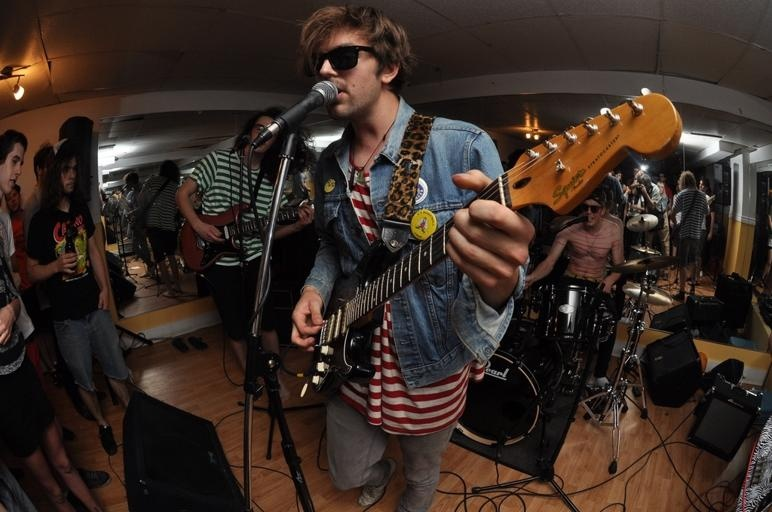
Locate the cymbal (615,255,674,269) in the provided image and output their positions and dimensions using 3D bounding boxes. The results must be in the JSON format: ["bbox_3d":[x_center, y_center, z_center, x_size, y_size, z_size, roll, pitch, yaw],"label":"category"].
[{"bbox_3d":[1.942,0.057,3.688,0.184,0.045,0.186,8,-25,-25],"label":"cymbal"}]

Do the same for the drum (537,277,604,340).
[{"bbox_3d":[1.396,0.426,3.791,0.387,0.401,0.406,10,-21,3],"label":"drum"}]

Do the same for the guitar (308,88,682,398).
[{"bbox_3d":[0.406,0.017,2.577,0.289,2.202,0.824,24,34,-24],"label":"guitar"}]

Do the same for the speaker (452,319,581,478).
[{"bbox_3d":[1.092,1.089,3.998,0.913,1.104,1.018,27,16,26],"label":"speaker"}]

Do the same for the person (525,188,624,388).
[{"bbox_3d":[1.625,0.239,4.204,0.817,1.655,0.695,6,6,35],"label":"person"}]

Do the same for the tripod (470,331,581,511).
[{"bbox_3d":[1.028,1.125,3.873,0.937,1.106,0.839,10,0,28],"label":"tripod"}]

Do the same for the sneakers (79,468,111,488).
[{"bbox_3d":[-2.067,1.579,3.504,0.269,0.097,0.109,4,-28,-1],"label":"sneakers"}]

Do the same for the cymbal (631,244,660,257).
[{"bbox_3d":[2.083,-0.066,4.014,0.145,0.048,0.153,10,35,25],"label":"cymbal"}]

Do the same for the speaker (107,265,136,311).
[{"bbox_3d":[-2.670,0.335,4.994,0.251,0.366,0.107,-13,-12,34],"label":"speaker"}]

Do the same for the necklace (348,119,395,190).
[{"bbox_3d":[-0.084,-0.563,2.683,0.188,0.391,0.051,11,-3,40],"label":"necklace"}]
